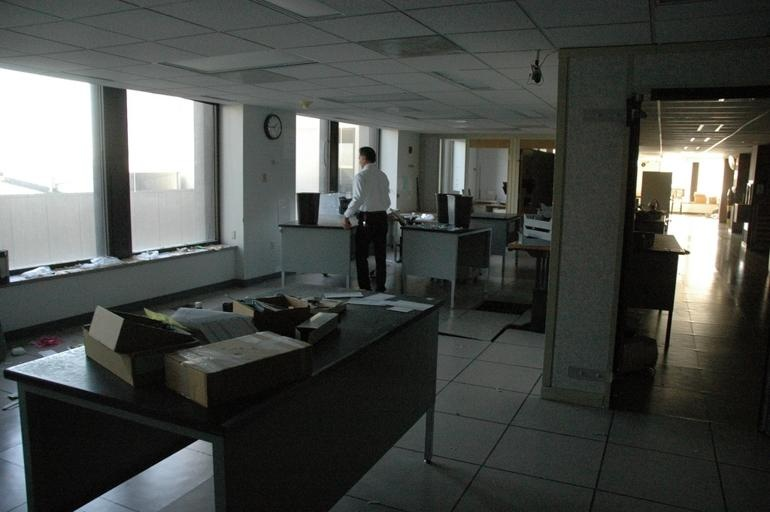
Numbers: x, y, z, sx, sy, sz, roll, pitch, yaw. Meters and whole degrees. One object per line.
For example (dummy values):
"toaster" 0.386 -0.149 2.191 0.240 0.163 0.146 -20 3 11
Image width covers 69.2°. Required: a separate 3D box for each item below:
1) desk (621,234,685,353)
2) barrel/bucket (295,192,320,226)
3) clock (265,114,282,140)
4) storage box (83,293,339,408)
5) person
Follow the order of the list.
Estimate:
"desk" 2.921 0.427 6.148 0.482 0.793 1.327 3 8 24
"barrel/bucket" -1.134 -0.681 8.149 0.472 0.533 0.442 0 -2 0
"clock" -1.800 -2.084 9.010 0.087 0.339 0.365 6 8 21
"storage box" -1.008 0.494 3.063 1.204 0.339 0.598 10 12 17
"person" -0.233 -0.487 7.873 0.692 2.049 0.733 7 12 -4
